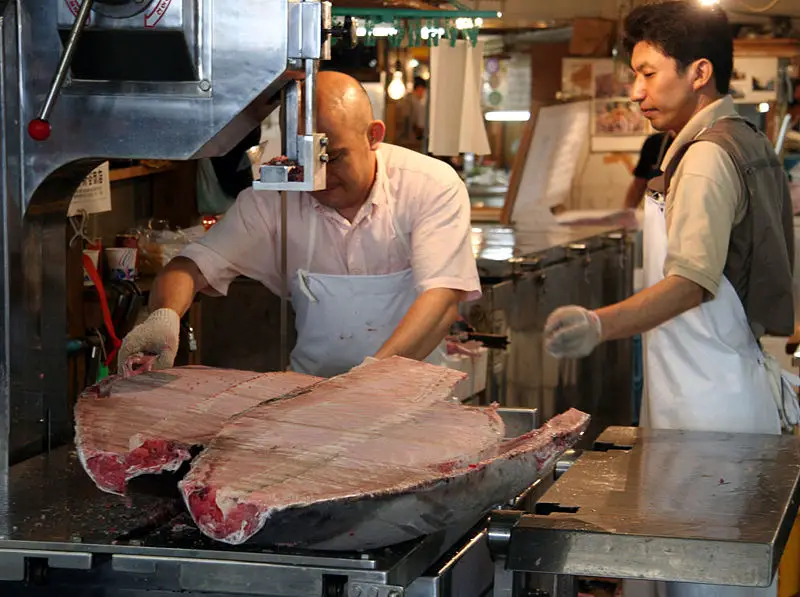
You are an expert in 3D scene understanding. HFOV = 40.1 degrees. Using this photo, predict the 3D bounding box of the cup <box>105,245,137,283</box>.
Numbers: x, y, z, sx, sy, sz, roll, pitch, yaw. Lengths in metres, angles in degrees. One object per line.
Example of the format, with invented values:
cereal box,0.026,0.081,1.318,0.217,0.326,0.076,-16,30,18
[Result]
cup,-1.026,-0.123,4.074,0.116,0.126,0.115,0,4,0

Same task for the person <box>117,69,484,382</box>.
person,-0.195,-0.183,3.211,0.869,1.283,0.930,9,13,22

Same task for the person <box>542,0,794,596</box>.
person,0.853,-0.194,3.112,0.632,1.308,0.717,3,10,12
